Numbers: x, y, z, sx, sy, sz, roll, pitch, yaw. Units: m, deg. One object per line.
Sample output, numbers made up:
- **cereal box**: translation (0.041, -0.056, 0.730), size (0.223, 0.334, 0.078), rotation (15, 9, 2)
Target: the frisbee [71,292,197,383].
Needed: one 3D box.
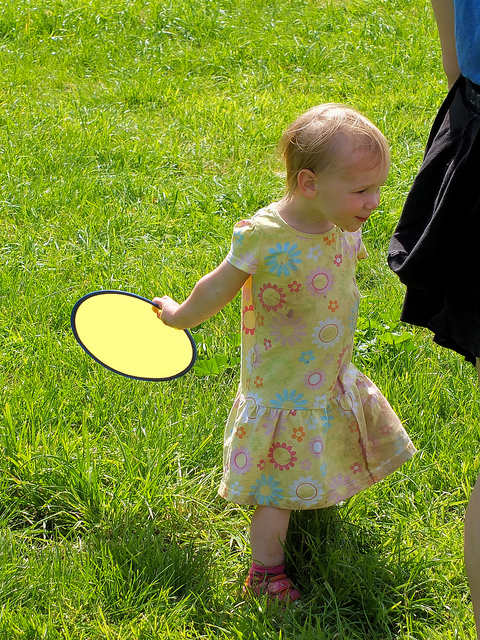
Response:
- **frisbee**: translation (-0.288, 0.067, 2.060), size (0.371, 0.354, 0.012), rotation (3, 45, 21)

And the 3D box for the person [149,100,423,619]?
- **person**: translation (0.162, 0.063, 1.843), size (0.542, 1.101, 0.598), rotation (-14, 35, -31)

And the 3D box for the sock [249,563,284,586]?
- **sock**: translation (0.063, 0.615, 1.840), size (0.048, 0.071, 0.076), rotation (-6, -24, 32)
